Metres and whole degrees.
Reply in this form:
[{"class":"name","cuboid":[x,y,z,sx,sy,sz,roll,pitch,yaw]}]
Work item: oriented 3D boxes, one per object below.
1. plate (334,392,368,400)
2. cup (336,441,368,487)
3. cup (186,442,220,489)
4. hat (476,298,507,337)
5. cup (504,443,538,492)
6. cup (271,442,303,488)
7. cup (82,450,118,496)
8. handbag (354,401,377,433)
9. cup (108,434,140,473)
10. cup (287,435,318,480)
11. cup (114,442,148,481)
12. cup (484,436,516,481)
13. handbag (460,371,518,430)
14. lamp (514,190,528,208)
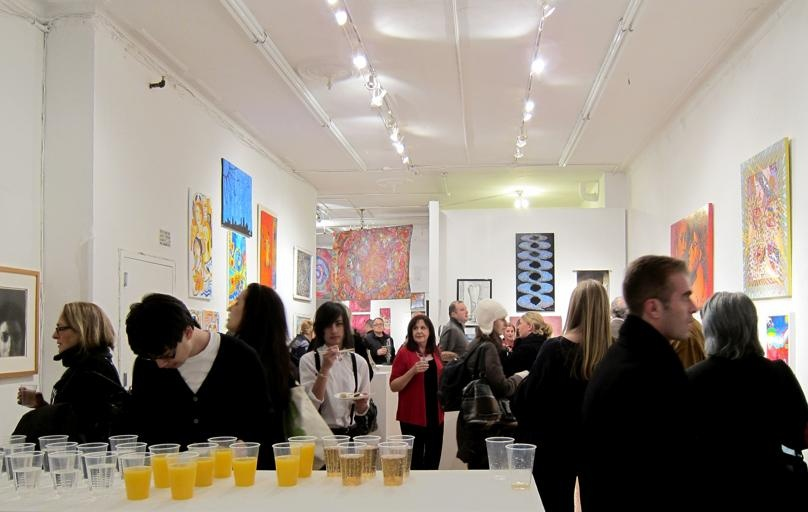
[{"class":"plate","cuboid":[-0.439,1.184,4.746,0.275,0.061,0.198,-1,-9,-2]},{"class":"cup","cuboid":[-0.266,1.076,2.952,0.200,0.206,0.204,-2,-7,0]},{"class":"cup","cuboid":[-1.056,1.096,2.974,0.204,0.224,0.200,-2,-9,0]},{"class":"hat","cuboid":[0.798,0.579,5.288,0.315,0.305,0.284,-1,-4,-3]},{"class":"cup","cuboid":[0.601,1.077,2.877,0.212,0.210,0.202,0,-13,0]},{"class":"cup","cuboid":[-0.623,1.108,2.979,0.194,0.208,0.196,-3,-7,0]},{"class":"cup","cuboid":[-1.553,1.100,2.871,0.194,0.183,0.190,-1,-7,0]},{"class":"handbag","cuboid":[-0.314,1.433,4.946,0.224,0.228,0.251,-1,-18,1]},{"class":"cup","cuboid":[-1.504,1.054,2.999,0.167,0.159,0.164,0,-9,0]},{"class":"cup","cuboid":[-0.547,1.100,3.080,0.193,0.201,0.187,-1,-9,0]},{"class":"cup","cuboid":[-1.409,1.043,2.923,0.191,0.185,0.190,-2,-9,0]},{"class":"cup","cuboid":[0.497,1.078,3.027,0.197,0.198,0.205,1,-9,0]},{"class":"handbag","cuboid":[0.661,1.317,5.048,0.641,0.584,0.348,5,-25,-16]},{"class":"lamp","cuboid":[2.813,-1.391,13.439,0.330,0.461,0.307,5,-28,-5]}]
